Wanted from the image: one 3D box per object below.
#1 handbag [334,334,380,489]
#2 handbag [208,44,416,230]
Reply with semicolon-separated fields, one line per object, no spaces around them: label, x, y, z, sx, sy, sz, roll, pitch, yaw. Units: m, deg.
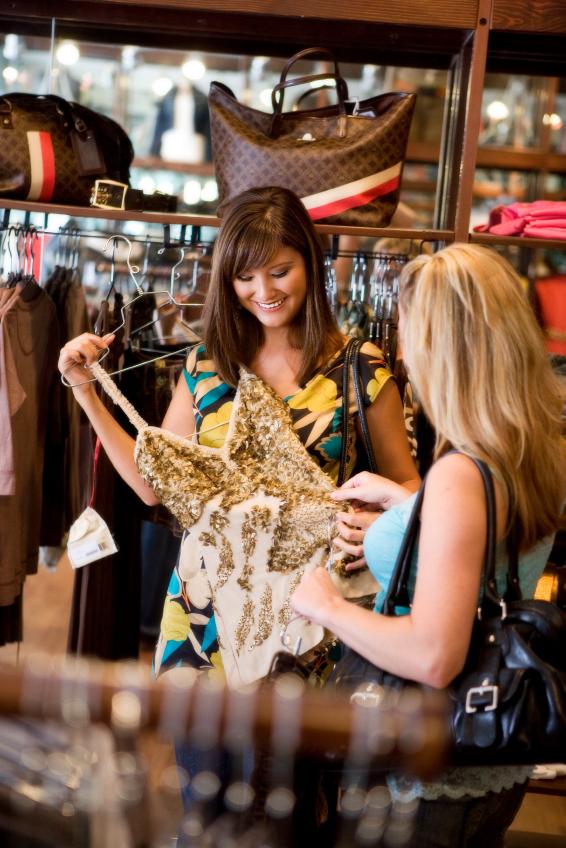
handbag;0.147;-0.030;1.487;0.148;0.260;0.064;0;-10;7
handbag;0.060;-0.708;1.751;0.512;0.404;0.216;4;37;5
